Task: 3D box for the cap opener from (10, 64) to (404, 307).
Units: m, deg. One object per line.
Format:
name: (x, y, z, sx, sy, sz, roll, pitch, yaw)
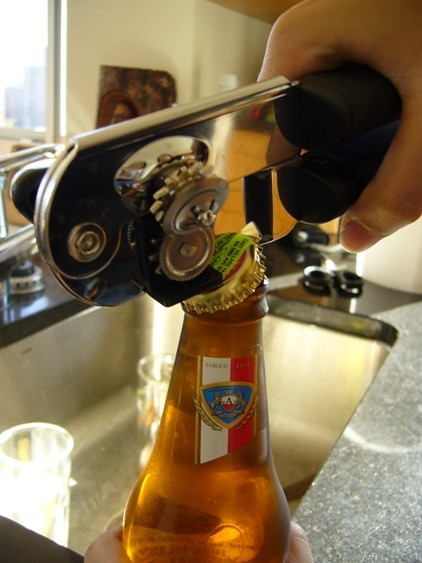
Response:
cap opener: (0.038, -0.061, 0.291, 0.270, 0.092, 0.095, -26, 38, -30)
